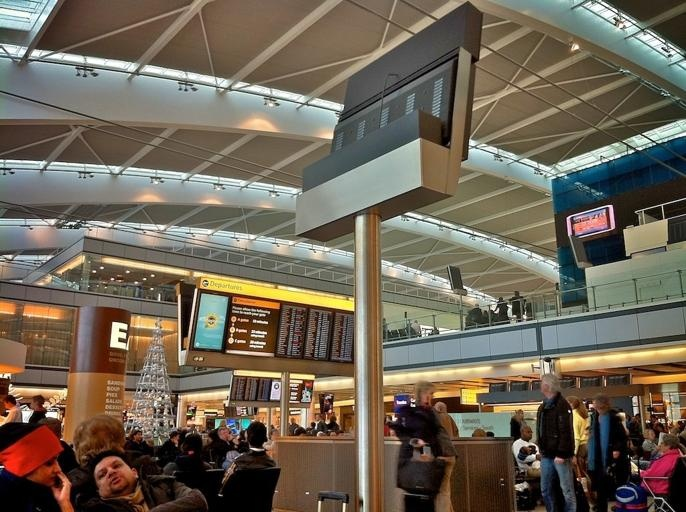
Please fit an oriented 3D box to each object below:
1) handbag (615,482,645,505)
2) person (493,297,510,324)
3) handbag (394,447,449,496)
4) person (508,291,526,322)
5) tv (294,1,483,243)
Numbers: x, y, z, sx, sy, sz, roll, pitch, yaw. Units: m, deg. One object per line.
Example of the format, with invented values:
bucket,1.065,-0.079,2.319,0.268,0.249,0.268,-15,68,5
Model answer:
handbag,3.784,3.102,7.175,0.324,0.224,0.283,-6,-8,15
person,5.967,2.113,20.340,0.183,0.858,0.648,6,-17,-21
handbag,0.854,2.235,5.691,0.564,0.427,0.244,-15,-20,34
person,6.383,1.952,19.907,0.334,0.924,0.584,5,-17,-16
tv,0.427,-1.073,4.433,0.444,1.530,1.512,15,-21,-40
